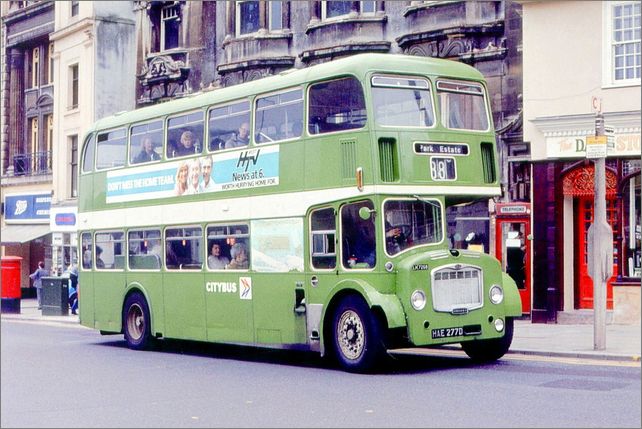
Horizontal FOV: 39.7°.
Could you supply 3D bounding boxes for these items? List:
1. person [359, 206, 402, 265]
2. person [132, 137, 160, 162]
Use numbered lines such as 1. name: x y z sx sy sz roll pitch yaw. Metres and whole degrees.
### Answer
1. person: 1.195 0.447 18.666 0.814 1.241 0.314 -7 8 3
2. person: -4.606 -1.595 23.339 0.864 0.839 0.563 -1 -6 -12
